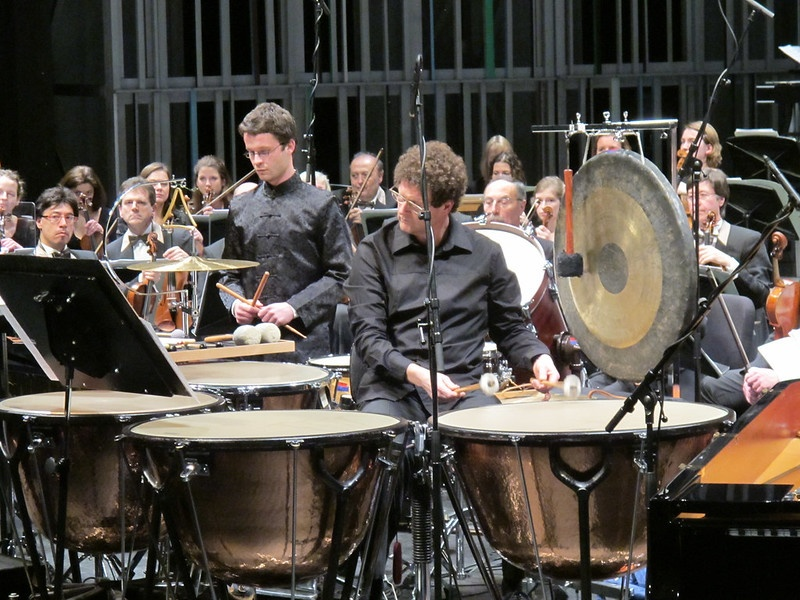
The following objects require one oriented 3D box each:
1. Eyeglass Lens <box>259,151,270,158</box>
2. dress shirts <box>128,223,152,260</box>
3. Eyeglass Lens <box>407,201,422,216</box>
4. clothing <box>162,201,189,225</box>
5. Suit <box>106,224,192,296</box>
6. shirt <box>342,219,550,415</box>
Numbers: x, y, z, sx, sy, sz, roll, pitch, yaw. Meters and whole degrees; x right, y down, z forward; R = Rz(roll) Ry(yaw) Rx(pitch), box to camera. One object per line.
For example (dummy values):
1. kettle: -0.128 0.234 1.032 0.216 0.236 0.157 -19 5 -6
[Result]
1. Eyeglass Lens: -0.775 -0.848 9.405 0.044 0.049 0.015 -1 4 7
2. dress shirts: -1.770 -0.387 10.972 0.212 0.221 0.290 0 2 4
3. Eyeglass Lens: 0.079 -0.491 8.348 0.090 0.096 0.027 19 22 38
4. clothing: -1.592 -0.600 11.588 0.175 0.069 0.187 6 -23 -3
5. Suit: -1.686 -0.356 11.084 0.586 0.146 0.606 5 16 26
6. shirt: 0.255 0.143 8.699 1.003 1.170 0.883 2 24 5
